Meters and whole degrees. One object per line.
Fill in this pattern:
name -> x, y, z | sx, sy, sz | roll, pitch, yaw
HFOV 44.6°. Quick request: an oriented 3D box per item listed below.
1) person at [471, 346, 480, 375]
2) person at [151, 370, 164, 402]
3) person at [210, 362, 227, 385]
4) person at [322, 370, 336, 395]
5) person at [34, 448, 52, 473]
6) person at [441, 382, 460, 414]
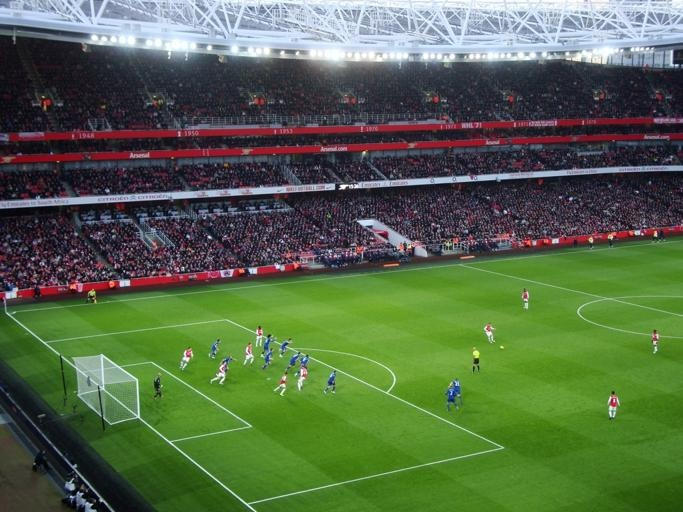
person -> 8.124, 6.150, 50.471 | 0.465, 1.374, 1.688 | 2, 15, 10
person -> -10.594, 7.561, 47.904 | 0.819, 1.778, 0.903 | -6, 20, -14
person -> -7.274, 6.742, 49.210 | 0.905, 1.275, 1.398 | -3, 15, -8
person -> -0.718, 7.126, 47.985 | 0.709, 1.244, 1.266 | -1, 15, -2
person -> -14.774, 10.110, 41.074 | 0.480, 0.627, 1.493 | 8, 30, 8
person -> 6.112, 7.636, 45.864 | 0.730, 1.496, 1.235 | 1, 15, 7
